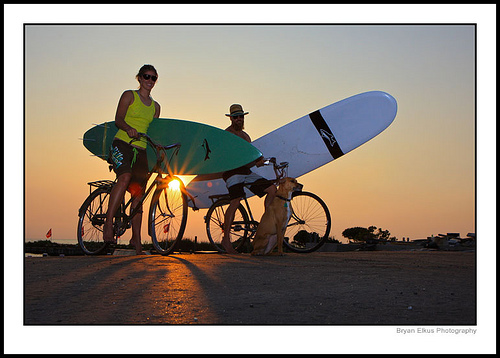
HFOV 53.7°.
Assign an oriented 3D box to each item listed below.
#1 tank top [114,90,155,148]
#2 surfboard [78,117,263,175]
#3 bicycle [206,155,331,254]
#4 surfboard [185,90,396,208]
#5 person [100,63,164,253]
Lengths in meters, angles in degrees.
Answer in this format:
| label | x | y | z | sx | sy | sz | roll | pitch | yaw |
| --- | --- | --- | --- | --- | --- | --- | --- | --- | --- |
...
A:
| label | x | y | z | sx | sy | sz | roll | pitch | yaw |
| --- | --- | --- | --- | --- | --- | --- | --- | --- | --- |
| tank top | -1.116 | -0.654 | 4.950 | 0.309 | 0.568 | 0.425 | 6 | -46 | -29 |
| surfboard | -0.844 | -0.372 | 5.857 | 1.959 | 0.577 | 0.716 | 0 | -8 | -11 |
| bicycle | 0.275 | 0.399 | 5.988 | 1.597 | 1.148 | 0.868 | -5 | -4 | 13 |
| surfboard | 0.234 | -0.267 | 6.134 | 3.020 | 0.685 | 0.275 | -26 | 5 | -7 |
| person | -1.144 | -0.214 | 4.811 | 0.554 | 1.823 | 0.768 | 1 | -8 | -17 |
